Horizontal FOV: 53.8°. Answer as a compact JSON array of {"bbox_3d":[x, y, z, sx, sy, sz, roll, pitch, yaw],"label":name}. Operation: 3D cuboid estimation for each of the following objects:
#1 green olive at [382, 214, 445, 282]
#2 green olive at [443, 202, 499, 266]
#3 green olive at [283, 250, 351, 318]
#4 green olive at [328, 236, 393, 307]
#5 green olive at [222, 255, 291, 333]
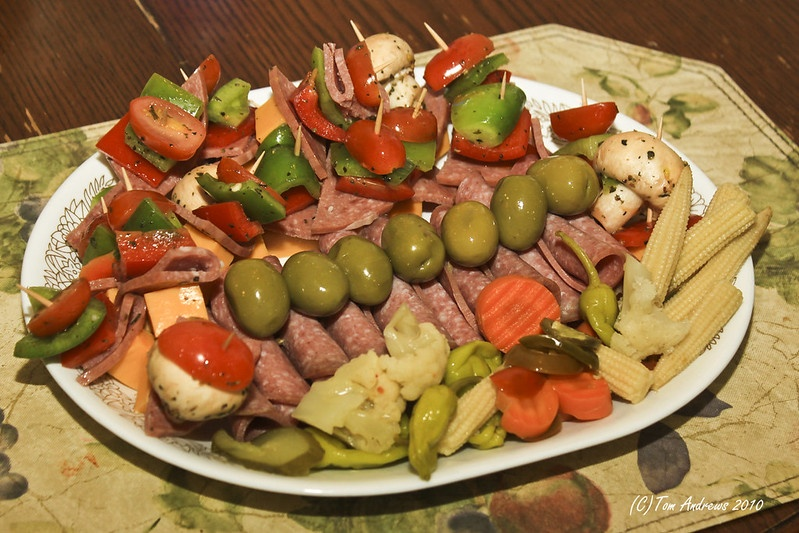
[{"bbox_3d":[0.086,-0.117,4.878,0.319,0.305,0.421,-18,71,-47],"label":"green olive"},{"bbox_3d":[0.432,-0.185,4.837,0.296,0.295,0.401,4,88,-2],"label":"green olive"},{"bbox_3d":[-0.501,0.125,4.652,0.306,0.300,0.404,-48,62,14],"label":"green olive"},{"bbox_3d":[-0.220,-0.003,4.755,0.308,0.254,0.429,-22,86,3],"label":"green olive"},{"bbox_3d":[-0.827,0.223,4.699,0.328,0.320,0.442,-31,90,-16],"label":"green olive"}]
